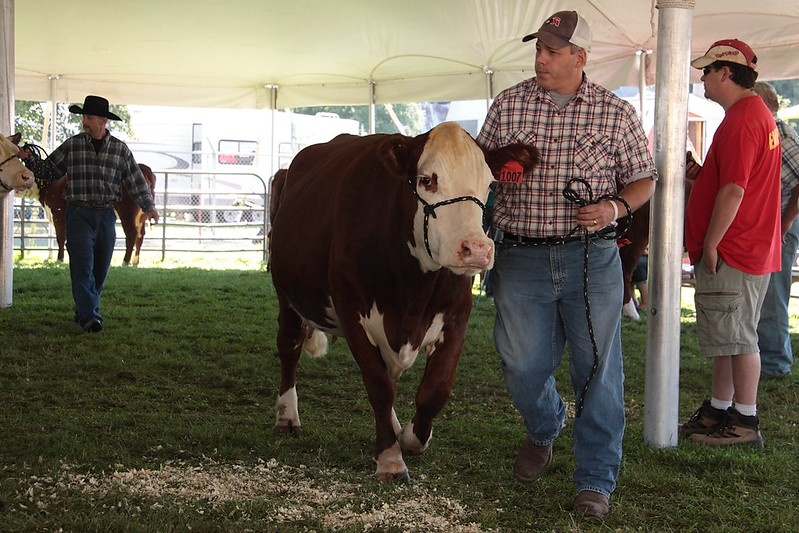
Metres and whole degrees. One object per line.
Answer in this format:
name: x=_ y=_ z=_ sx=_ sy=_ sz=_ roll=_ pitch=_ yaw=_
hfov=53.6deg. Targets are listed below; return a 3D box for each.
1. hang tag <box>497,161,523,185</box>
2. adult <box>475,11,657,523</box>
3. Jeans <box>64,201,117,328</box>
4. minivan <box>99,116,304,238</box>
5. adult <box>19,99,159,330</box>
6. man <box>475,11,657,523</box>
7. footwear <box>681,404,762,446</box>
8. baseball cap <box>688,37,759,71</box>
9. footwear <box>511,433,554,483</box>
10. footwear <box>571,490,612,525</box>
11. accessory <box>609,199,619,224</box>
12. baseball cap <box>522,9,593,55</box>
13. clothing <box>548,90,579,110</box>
hang tag: x=0.783 y=-0.672 z=5.594 sx=0.162 sy=0.158 sz=0.021 roll=4 pitch=-18 yaw=13
adult: x=1.168 y=-0.082 z=5.631 sx=1.144 sy=3.426 sz=0.761 roll=5 pitch=11 yaw=17
Jeans: x=-3.613 y=-0.020 z=9.344 sx=0.529 sy=1.409 sz=0.550 roll=-2 pitch=11 yaw=-22
minivan: x=-3.238 y=-2.309 z=19.295 sx=6.474 sy=3.136 sz=2.520 roll=-1 pitch=4 yaw=-10
adult: x=-3.774 y=-0.606 z=9.519 sx=1.719 sy=2.674 sz=1.056 roll=-4 pitch=11 yaw=-40
man: x=1.171 y=-0.082 z=5.632 sx=1.147 sy=3.426 sz=0.769 roll=5 pitch=11 yaw=16
footwear: x=2.780 y=1.361 z=6.593 sx=0.224 sy=0.270 sz=0.651 roll=-2 pitch=-12 yaw=-27
baseball cap: x=2.730 y=-1.754 z=6.673 sx=0.480 sy=0.255 sz=0.309 roll=11 pitch=13 yaw=18
footwear: x=1.001 y=1.442 z=5.908 sx=0.169 sy=0.184 sz=0.449 roll=9 pitch=29 yaw=24
footwear: x=1.332 y=1.642 z=5.470 sx=0.242 sy=0.148 sz=0.157 roll=4 pitch=11 yaw=13
accessory: x=1.494 y=-0.389 z=5.499 sx=0.054 sy=0.143 sz=0.112 roll=8 pitch=12 yaw=32
baseball cap: x=1.125 y=-1.680 z=5.632 sx=0.416 sy=0.205 sz=0.271 roll=7 pitch=15 yaw=-19
clothing: x=1.175 y=-1.212 z=5.698 sx=0.156 sy=0.108 sz=0.153 roll=-2 pitch=3 yaw=0
